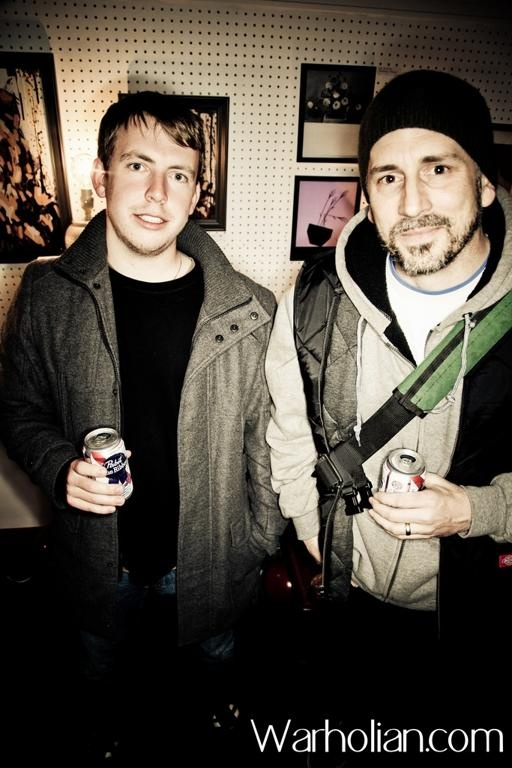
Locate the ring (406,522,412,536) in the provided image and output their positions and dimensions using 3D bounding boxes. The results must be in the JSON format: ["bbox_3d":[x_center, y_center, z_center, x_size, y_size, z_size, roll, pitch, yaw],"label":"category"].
[{"bbox_3d":[0.398,0.375,1.528,0.010,0.028,0.030,3,64,11],"label":"ring"}]

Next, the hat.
[{"bbox_3d":[0.468,-0.674,1.642,0.260,0.278,0.353,-4,11,-2],"label":"hat"}]

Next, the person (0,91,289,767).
[{"bbox_3d":[-0.322,0.028,1.841,0.825,1.723,0.663,-18,29,-38],"label":"person"}]

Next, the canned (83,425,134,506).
[{"bbox_3d":[-0.402,0.218,1.581,0.109,0.182,0.084,7,23,16],"label":"canned"}]
